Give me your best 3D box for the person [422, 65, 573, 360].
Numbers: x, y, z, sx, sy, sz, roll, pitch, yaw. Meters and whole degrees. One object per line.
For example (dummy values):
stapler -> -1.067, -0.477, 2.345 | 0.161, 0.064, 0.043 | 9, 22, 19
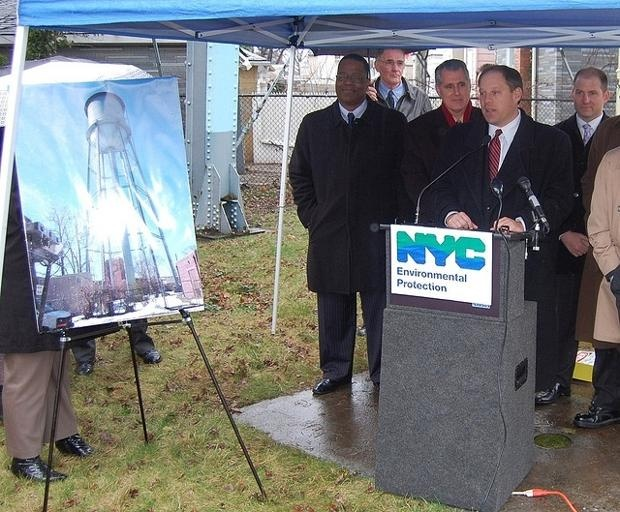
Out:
person -> 1.264, -0.277, 3.689 | 1.027, 1.960, 0.916 | 0, 9, 8

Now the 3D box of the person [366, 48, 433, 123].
person -> 0.869, -1.743, 5.807 | 0.883, 0.930, 0.504 | -2, 24, -2

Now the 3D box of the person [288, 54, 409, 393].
person -> 0.282, -0.210, 4.422 | 0.921, 2.693, 0.470 | 0, 9, 9

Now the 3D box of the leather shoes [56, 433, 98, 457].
leather shoes -> -1.478, 1.234, 3.667 | 0.313, 0.143, 0.109 | 4, 4, -2

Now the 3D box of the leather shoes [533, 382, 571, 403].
leather shoes -> 1.889, 1.075, 4.419 | 0.377, 0.168, 0.126 | -5, -1, -34

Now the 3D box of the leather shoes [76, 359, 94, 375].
leather shoes -> -1.960, 0.971, 4.870 | 0.136, 0.147, 0.092 | 1, 3, 11

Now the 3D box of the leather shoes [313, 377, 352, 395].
leather shoes -> 0.192, 1.070, 4.678 | 0.327, 0.131, 0.118 | 0, -1, -33

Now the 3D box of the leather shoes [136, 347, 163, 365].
leather shoes -> -1.502, 0.938, 5.211 | 0.216, 0.098, 0.107 | -2, 9, 41

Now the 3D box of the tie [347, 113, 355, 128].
tie -> 0.323, -1.066, 4.321 | 0.061, 0.118, 0.050 | -1, 9, 2

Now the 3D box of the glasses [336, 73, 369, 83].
glasses -> 0.319, -1.364, 4.235 | 0.221, 0.073, 0.084 | -2, 10, -4
